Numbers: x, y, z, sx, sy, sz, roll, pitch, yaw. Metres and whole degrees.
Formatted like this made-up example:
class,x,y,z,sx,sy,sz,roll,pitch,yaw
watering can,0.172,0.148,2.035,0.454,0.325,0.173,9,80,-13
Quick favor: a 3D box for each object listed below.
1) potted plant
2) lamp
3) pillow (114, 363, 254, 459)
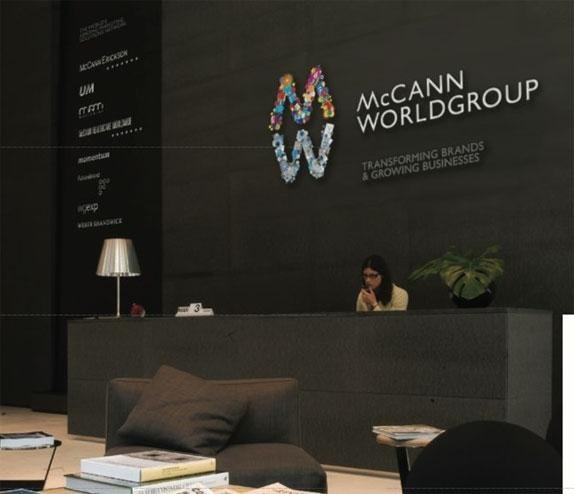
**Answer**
class,x,y,z,sx,sy,sz,roll,pitch,yaw
potted plant,1.074,0.175,3.621,0.498,0.329,0.610,7,11,40
lamp,-1.539,0.240,5.684,0.353,0.723,0.759,4,-7,-17
pillow,-0.471,0.701,2.738,0.556,0.335,0.319,-1,-7,23
